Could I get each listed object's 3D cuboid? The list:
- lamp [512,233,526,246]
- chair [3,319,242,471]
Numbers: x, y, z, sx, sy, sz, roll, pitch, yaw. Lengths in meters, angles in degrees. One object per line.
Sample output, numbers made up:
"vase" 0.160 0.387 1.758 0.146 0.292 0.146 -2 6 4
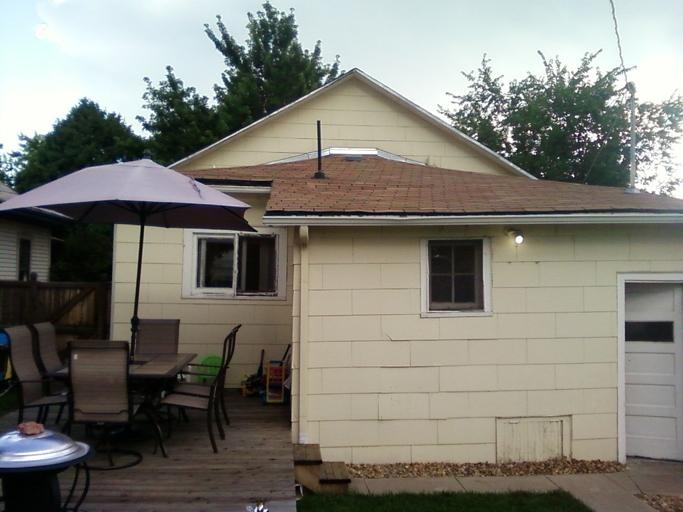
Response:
"lamp" 3.328 -0.313 13.454 0.226 0.222 0.155 2 -4 6
"chair" -3.479 2.447 12.858 2.996 2.387 2.269 6 -5 -39
